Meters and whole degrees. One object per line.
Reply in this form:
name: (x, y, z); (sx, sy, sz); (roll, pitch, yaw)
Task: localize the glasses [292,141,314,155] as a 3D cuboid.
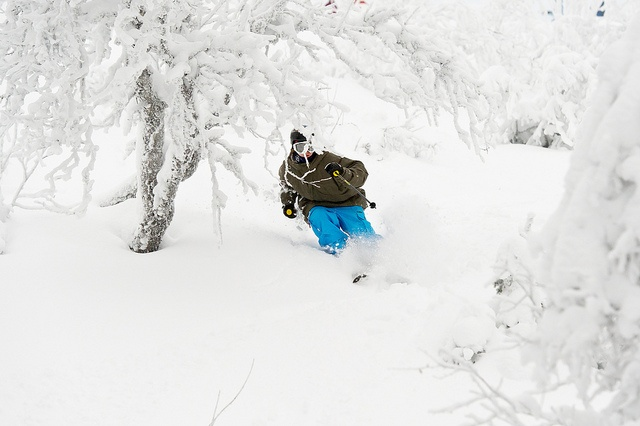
glasses: (-0.215, -0.747, 6.997); (0.215, 0.306, 0.133); (3, 78, -9)
